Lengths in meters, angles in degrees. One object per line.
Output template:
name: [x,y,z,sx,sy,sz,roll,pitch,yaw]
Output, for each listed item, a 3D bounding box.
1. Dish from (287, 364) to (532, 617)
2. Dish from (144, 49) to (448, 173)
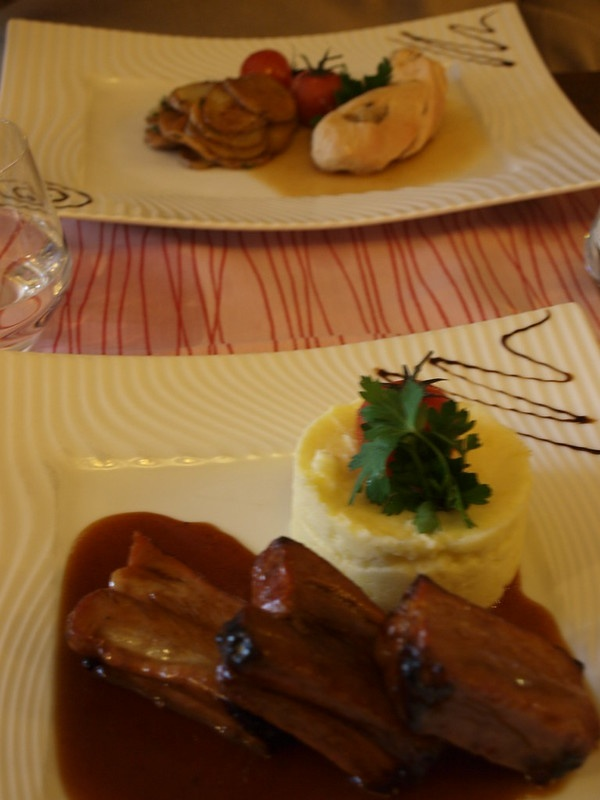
Dish: [0.150,0.113,1.114,0.348,0.283,0.296,-6,44,-16]
Dish: [0.006,-0.701,2.127,0.740,0.182,0.394,3,45,5]
